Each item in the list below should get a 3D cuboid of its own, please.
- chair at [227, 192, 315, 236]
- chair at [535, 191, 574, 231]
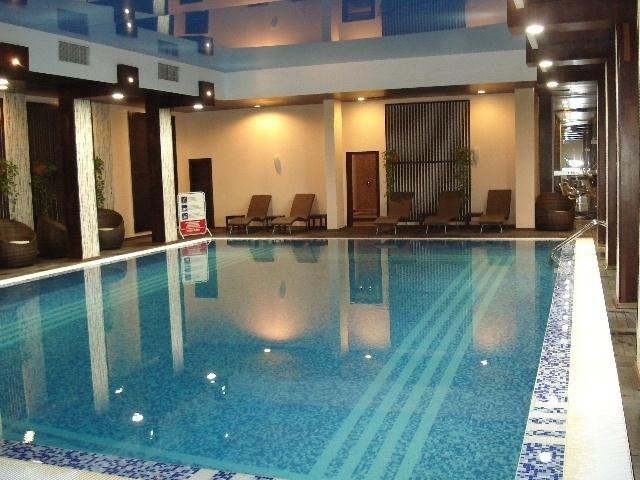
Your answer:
[{"bbox_3d":[-1.582,-0.935,16.336,2.700,1.152,2.080,0,8,17],"label":"chair"},{"bbox_3d":[6.923,-0.851,14.486,1.031,1.027,1.054,1,8,24],"label":"chair"}]
